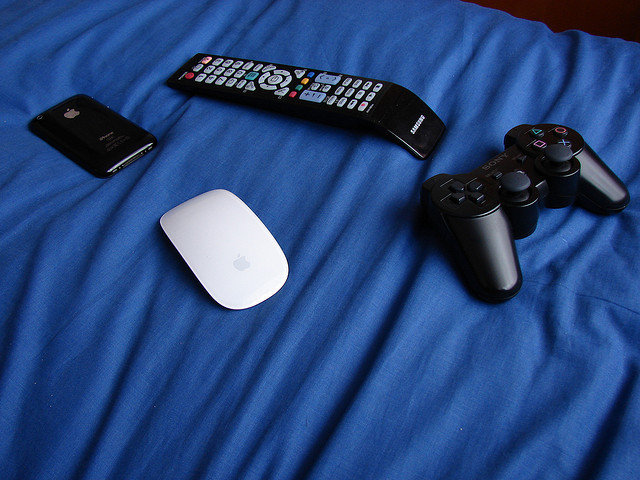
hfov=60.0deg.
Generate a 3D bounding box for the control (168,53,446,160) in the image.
[{"bbox_3d":[-0.097,-0.195,0.827,0.546,0.067,0.120,17,54,18],"label":"control"}]

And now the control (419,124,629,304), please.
[{"bbox_3d":[0.215,-0.043,0.600,0.224,0.076,0.150,-37,60,-10],"label":"control"}]

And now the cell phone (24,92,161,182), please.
[{"bbox_3d":[-0.299,-0.137,0.724,0.175,0.024,0.104,29,52,22],"label":"cell phone"}]
